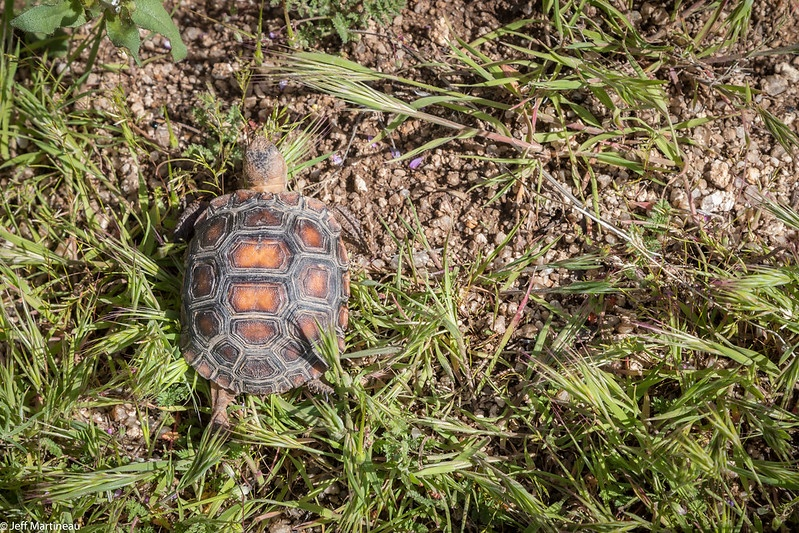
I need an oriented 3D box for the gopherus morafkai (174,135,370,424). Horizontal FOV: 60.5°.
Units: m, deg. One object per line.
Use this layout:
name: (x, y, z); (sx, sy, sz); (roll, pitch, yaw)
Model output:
gopherus morafkai: (-0.737, 0.133, 3.722); (0.902, 0.179, 1.104); (3, 84, -3)
